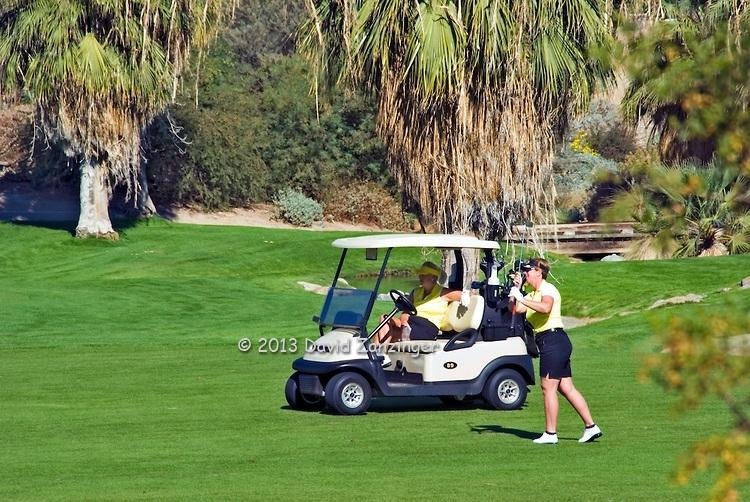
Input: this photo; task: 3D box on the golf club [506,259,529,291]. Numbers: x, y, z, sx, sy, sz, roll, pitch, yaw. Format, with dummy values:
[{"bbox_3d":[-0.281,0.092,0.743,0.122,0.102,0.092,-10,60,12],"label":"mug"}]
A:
[{"bbox_3d":[2.703,0.460,33.576,0.194,0.561,0.343,13,10,22],"label":"golf club"}]
